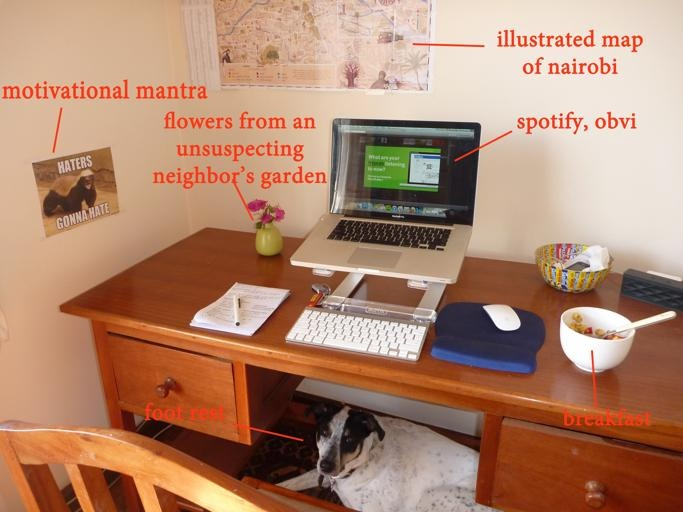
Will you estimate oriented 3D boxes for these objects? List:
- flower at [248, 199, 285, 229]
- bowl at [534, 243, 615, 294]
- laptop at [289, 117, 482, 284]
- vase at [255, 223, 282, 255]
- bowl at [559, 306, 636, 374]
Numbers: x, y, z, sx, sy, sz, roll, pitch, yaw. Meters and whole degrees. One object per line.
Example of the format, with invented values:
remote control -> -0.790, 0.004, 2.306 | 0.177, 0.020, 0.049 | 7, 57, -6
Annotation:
flower -> -0.259, -0.154, 1.778 | 0.111, 0.100, 0.111 | -2, 20, -5
bowl -> 0.714, 0.041, 1.589 | 0.224, 0.089, 0.218 | -1, 26, 1
laptop -> 0.193, -0.192, 1.578 | 0.661, 0.450, 0.515 | 9, 36, 15
vase -> -0.250, -0.054, 1.775 | 0.114, 0.145, 0.106 | -1, 20, -9
bowl -> 0.620, 0.190, 1.281 | 0.173, 0.107, 0.172 | 0, 20, 0
